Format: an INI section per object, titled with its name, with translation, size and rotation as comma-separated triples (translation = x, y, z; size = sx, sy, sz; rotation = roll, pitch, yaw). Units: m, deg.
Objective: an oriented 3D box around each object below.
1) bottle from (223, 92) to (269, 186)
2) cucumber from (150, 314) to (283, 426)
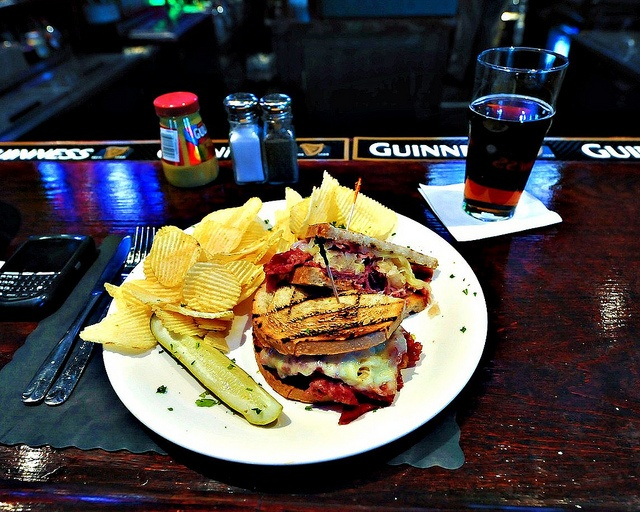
[bottle]
translation = -0.323, -0.524, 2.464
size = 0.195, 0.385, 0.180
rotation = -2, 22, 1
[cucumber]
translation = -0.333, 0.353, 1.723
size = 0.539, 0.043, 0.121
rotation = 31, 90, 17
